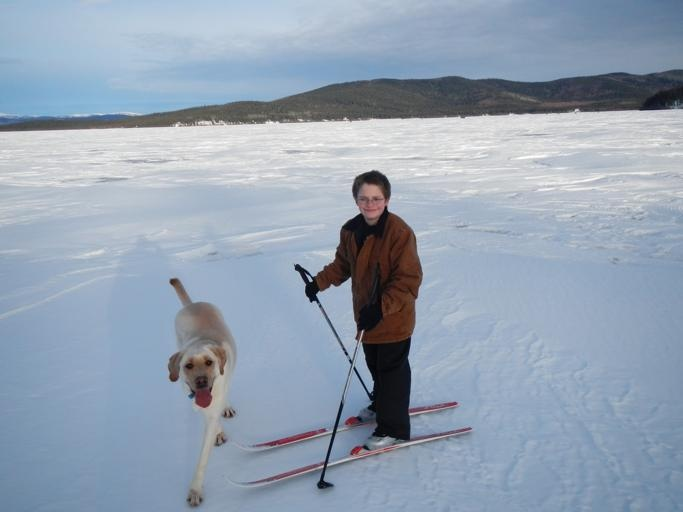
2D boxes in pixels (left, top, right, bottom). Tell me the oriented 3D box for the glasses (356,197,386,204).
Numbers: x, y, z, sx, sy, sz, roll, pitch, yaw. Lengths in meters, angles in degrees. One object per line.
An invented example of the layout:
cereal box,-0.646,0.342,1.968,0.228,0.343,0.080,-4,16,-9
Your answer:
glasses,0.247,-0.434,4.137,0.202,0.061,0.077,-6,13,-3

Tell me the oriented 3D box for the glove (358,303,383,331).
glove,0.221,0.457,4.048,0.159,0.210,0.056,31,-1,-14

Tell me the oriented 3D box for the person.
person,0.298,0.425,4.395,0.561,2.232,0.668,-9,14,-16
